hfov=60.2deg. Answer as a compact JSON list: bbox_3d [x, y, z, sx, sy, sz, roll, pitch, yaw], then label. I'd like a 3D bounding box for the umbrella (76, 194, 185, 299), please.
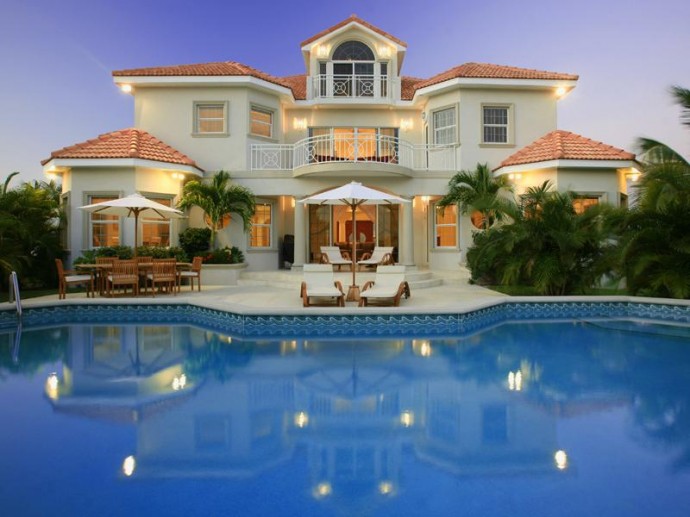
[{"bbox_3d":[-8.025,-0.415,21.788,3.068,2.528,3.201,-1,-4,15],"label":"umbrella"}]

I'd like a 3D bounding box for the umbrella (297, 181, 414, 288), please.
[{"bbox_3d":[0.166,-1.142,20.825,3.405,3.561,3.633,-1,1,-22],"label":"umbrella"}]
